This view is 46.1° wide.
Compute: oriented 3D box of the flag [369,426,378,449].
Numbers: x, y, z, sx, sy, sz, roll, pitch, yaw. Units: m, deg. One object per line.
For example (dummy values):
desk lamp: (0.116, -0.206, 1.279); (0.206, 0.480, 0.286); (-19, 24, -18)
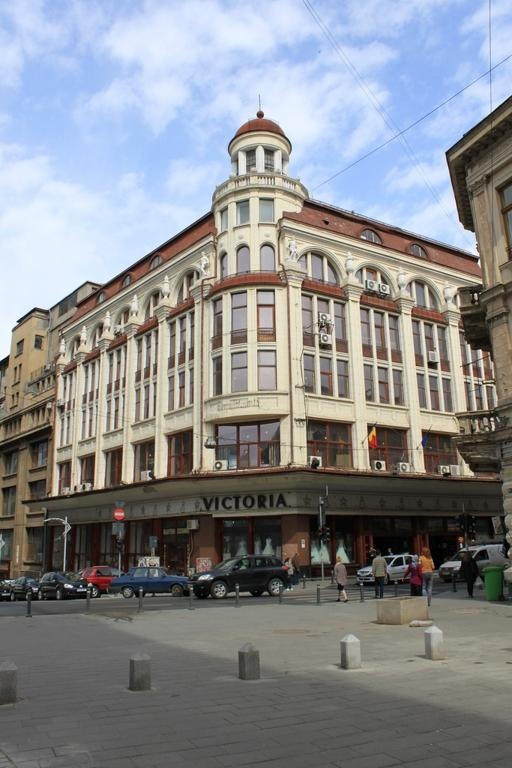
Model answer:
flag: (7.101, 3.259, 36.598); (0.534, 1.333, 1.409); (-6, -15, 9)

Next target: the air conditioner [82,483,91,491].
air conditioner: (-13.089, 8.008, 46.585); (0.803, 0.802, 0.588); (5, -20, -20)

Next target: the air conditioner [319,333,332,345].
air conditioner: (4.144, -2.641, 35.759); (0.638, 0.558, 0.204); (10, -18, -36)

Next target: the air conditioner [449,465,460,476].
air conditioner: (12.721, 5.576, 38.442); (0.606, 0.524, 0.211); (11, -17, -42)

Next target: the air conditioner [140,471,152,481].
air conditioner: (-7.233, 6.108, 39.848); (0.389, 0.772, 0.705); (10, -3, -29)

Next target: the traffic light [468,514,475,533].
traffic light: (8.462, 5.499, 23.543); (0.213, 0.662, 1.886); (-10, -16, 21)

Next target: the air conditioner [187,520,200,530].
air conditioner: (-3.702, 8.276, 35.242); (0.672, 0.662, 0.657); (-8, -15, 17)

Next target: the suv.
suv: (-0.611, 8.205, 25.370); (4.090, 1.725, 0.986); (4, -16, -28)

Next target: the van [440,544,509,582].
van: (10.366, 8.594, 29.462); (3.725, 1.940, 2.146); (10, -21, -27)

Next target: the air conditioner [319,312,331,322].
air conditioner: (4.162, -3.887, 35.845); (0.571, 0.565, 0.631); (-10, -9, 42)

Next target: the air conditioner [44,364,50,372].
air conditioner: (-21.655, -1.619, 62.378); (0.330, 0.579, 0.655); (13, -47, -25)

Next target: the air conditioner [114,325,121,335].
air conditioner: (-10.935, -4.201, 47.698); (0.581, 0.782, 0.766); (-3, -22, -5)

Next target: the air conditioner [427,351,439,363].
air conditioner: (12.277, -1.895, 41.525); (0.982, 0.958, 0.468); (9, -19, -41)

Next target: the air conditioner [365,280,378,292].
air conditioner: (7.592, -6.406, 39.398); (1.029, 0.716, 0.332); (8, -19, -39)

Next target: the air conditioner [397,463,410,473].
air conditioner: (9.055, 5.163, 36.698); (0.707, 0.687, 0.205); (4, -2, -42)
